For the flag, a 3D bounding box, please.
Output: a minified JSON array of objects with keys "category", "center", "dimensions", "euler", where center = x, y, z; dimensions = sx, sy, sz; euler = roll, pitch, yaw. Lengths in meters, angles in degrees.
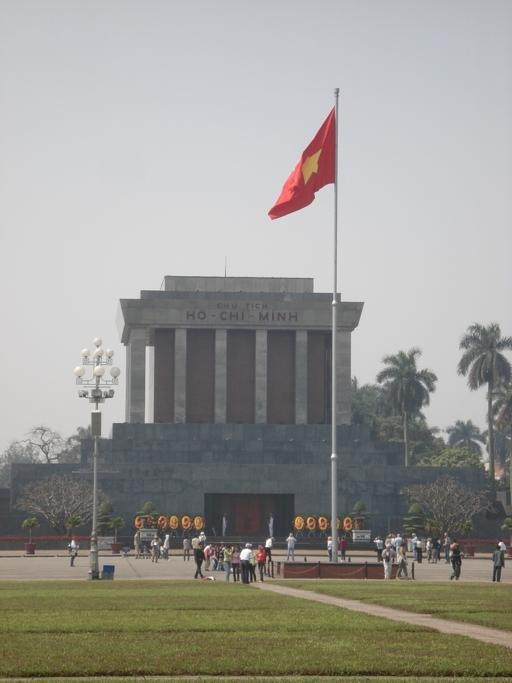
[{"category":"flag","center":[2.139,-6.831,67.178],"dimensions":[2.316,0.567,7.661],"euler":[-7,35,13]}]
